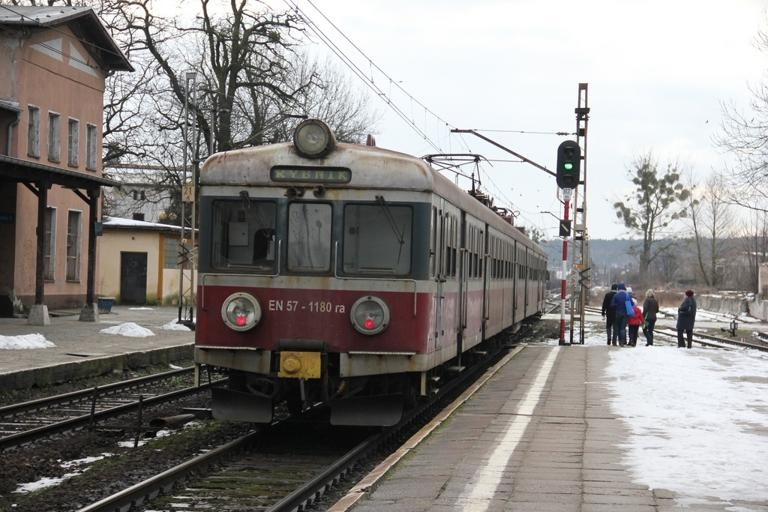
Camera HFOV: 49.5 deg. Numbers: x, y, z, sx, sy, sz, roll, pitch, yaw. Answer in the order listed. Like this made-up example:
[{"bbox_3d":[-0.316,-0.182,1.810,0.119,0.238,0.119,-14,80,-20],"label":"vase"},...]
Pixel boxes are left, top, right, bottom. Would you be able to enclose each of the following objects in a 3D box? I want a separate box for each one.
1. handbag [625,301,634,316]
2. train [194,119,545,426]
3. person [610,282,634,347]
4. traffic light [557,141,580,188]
[{"bbox_3d":[7.224,1.550,24.741,0.161,0.336,0.425,-8,-8,38],"label":"handbag"},{"bbox_3d":[0.230,0.441,15.210,3.123,4.770,7.211,-1,-3,26],"label":"train"},{"bbox_3d":[7.069,1.720,24.796,0.632,1.843,1.439,-1,-2,15],"label":"person"},{"bbox_3d":[4.958,-2.487,22.654,0.600,1.284,0.532,-1,-2,26],"label":"traffic light"}]
